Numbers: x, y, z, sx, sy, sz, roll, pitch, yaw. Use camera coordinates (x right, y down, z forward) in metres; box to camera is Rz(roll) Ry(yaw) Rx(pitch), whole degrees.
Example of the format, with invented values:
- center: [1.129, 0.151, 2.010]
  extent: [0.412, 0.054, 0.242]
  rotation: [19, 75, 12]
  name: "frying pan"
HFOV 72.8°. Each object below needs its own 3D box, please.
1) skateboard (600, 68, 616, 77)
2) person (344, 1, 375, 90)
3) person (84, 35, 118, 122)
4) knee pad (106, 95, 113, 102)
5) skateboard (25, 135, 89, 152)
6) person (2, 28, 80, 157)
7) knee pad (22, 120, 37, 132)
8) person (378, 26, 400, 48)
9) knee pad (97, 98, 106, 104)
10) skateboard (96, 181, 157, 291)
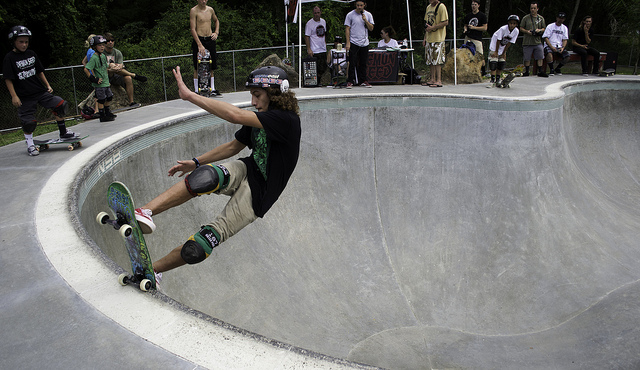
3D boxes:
- center: [10.688, -4.208, 16.083]
  extent: [0.469, 0.278, 0.348]
  rotation: [2, 21, 14]
  name: "skateboard"
- center: [1.163, -4.270, 13.200]
  extent: [1.024, 2.522, 0.846]
  rotation: [-10, 21, -14]
  name: "person"
- center: [-5.202, -2.520, 10.211]
  extent: [0.528, 1.922, 0.820]
  rotation: [-9, 21, -13]
  name: "person"
- center: [-5.055, -2.092, 10.404]
  extent: [0.121, 0.110, 0.123]
  rotation: [20, 17, 32]
  name: "knee pad"
- center: [-5.104, -0.794, 8.428]
  extent: [0.986, 0.198, 0.343]
  rotation: [-4, 21, -1]
  name: "skateboard"
- center: [-5.648, -1.897, 8.473]
  extent: [0.959, 2.243, 1.181]
  rotation: [-8, 21, -10]
  name: "person"
- center: [-5.633, -1.158, 8.408]
  extent: [0.189, 0.198, 0.355]
  rotation: [-2, 21, 5]
  name: "knee pad"
- center: [2.375, -5.186, 15.073]
  extent: [0.645, 0.643, 1.128]
  rotation: [0, 21, 10]
  name: "person"
- center: [-5.122, -1.971, 10.137]
  extent: [0.106, 0.082, 0.112]
  rotation: [16, 15, 34]
  name: "knee pad"
- center: [-2.309, 0.835, 5.642]
  extent: [0.489, 1.785, 0.301]
  rotation: [2, 25, 37]
  name: "skateboard"
